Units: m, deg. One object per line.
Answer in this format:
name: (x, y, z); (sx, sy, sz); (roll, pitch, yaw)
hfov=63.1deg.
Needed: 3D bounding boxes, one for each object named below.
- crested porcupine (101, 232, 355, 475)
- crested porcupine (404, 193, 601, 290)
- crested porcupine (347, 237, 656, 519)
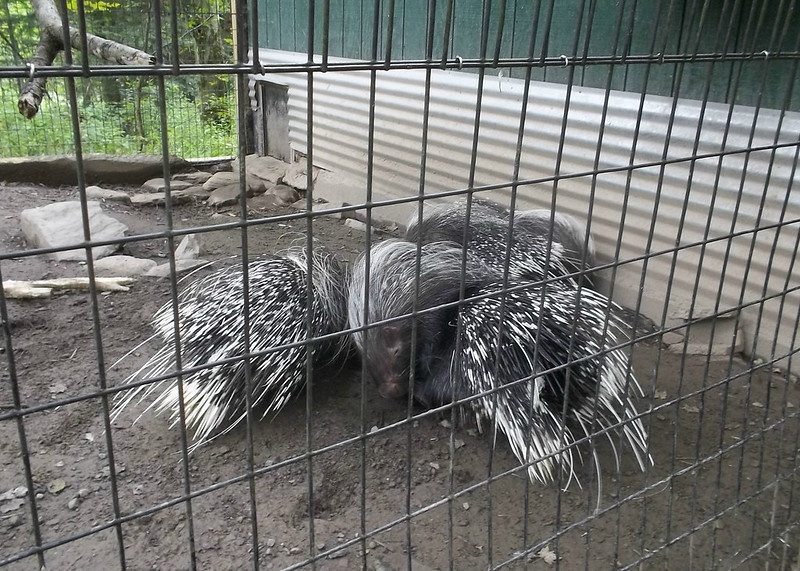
crested porcupine: (-0.588, 0.332, 2.838); (1.359, 0.877, 0.390); (-28, -7, 42)
crested porcupine: (0.458, -0.265, 3.816); (0.781, 0.334, 1.266); (18, 3, -28)
crested porcupine: (0.400, 0.313, 2.747); (0.712, 0.695, 1.483); (-10, 20, -43)
